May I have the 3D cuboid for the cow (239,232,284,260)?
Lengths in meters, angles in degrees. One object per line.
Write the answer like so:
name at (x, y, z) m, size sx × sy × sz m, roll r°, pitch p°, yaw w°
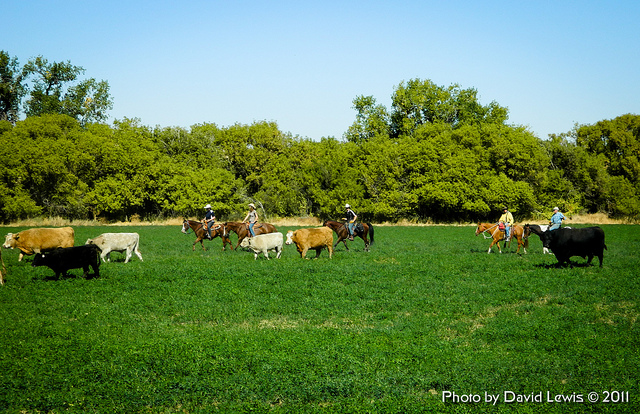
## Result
cow at (-3.407, 2.468, 34.717) m, size 2.971 × 1.650 × 1.002 m, roll -1°, pitch -3°, yaw -32°

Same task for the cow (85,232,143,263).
cow at (-11.912, 2.393, 32.501) m, size 3.320 × 1.769 × 0.804 m, roll -1°, pitch -3°, yaw -23°

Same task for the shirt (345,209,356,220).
shirt at (2.176, 0.595, 40.884) m, size 0.401 × 0.518 × 0.791 m, roll -28°, pitch 19°, yaw -9°

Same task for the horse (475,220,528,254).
horse at (12.640, 2.191, 39.045) m, size 3.504 × 2.145 × 0.975 m, roll 0°, pitch 9°, yaw 20°

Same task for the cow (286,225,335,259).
cow at (-0.577, 2.313, 35.332) m, size 3.487 × 1.917 × 1.173 m, roll 1°, pitch -3°, yaw -28°

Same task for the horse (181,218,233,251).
horse at (-8.010, 1.988, 40.638) m, size 3.947 × 2.456 × 0.985 m, roll 2°, pitch -6°, yaw -33°

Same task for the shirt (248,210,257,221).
shirt at (-4.663, 0.652, 39.006) m, size 0.802 × 1.005 × 0.557 m, roll 1°, pitch -4°, yaw -5°

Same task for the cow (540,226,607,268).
cow at (14.388, 2.367, 32.293) m, size 3.932 × 2.198 × 1.340 m, roll -2°, pitch 0°, yaw -6°

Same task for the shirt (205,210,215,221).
shirt at (-7.801, 0.602, 39.538) m, size 0.860 × 0.867 × 0.489 m, roll 3°, pitch 6°, yaw 9°
